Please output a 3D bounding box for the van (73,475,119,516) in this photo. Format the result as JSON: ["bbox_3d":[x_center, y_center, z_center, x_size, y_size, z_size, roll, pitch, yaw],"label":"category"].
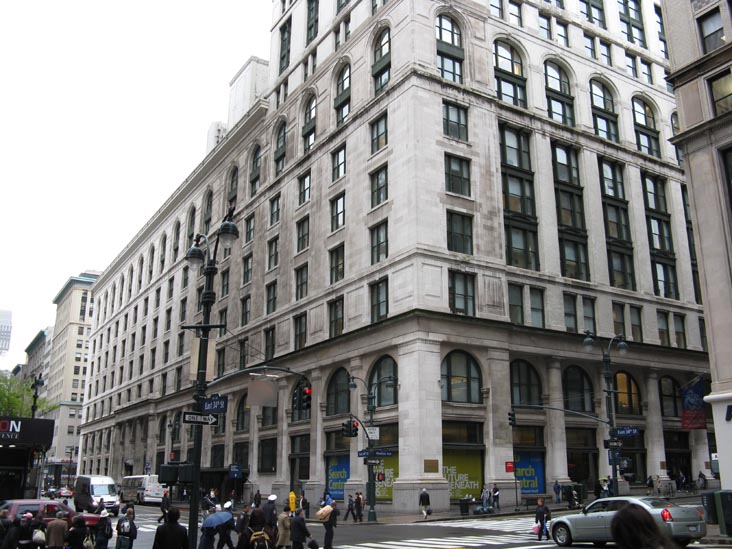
[{"bbox_3d":[-22.016,17.872,52.455,2.353,2.935,5.486,13,-15,-41],"label":"van"}]

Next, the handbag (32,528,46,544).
[{"bbox_3d":[-10.646,8.578,21.010,0.436,0.472,0.341,-7,-15,-8],"label":"handbag"}]

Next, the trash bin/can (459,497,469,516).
[{"bbox_3d":[6.560,15.437,42.620,0.944,0.982,0.970,2,-21,-2],"label":"trash bin/can"}]
